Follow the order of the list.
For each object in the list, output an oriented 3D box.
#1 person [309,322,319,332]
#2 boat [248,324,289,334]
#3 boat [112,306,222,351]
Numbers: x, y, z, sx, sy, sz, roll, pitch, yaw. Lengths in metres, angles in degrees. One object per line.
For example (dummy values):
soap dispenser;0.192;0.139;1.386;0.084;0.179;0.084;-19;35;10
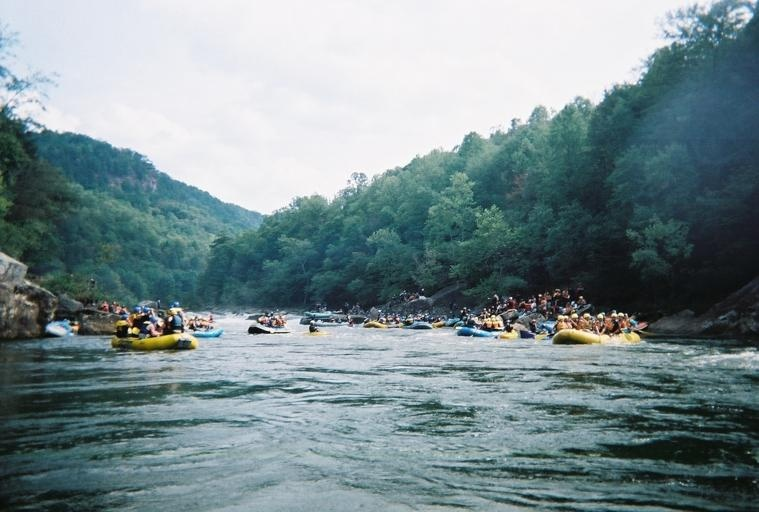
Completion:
person;-4.471;4.935;35.678;0.463;0.480;0.853;-4;-19;-17
boat;-7.944;5.339;37.320;1.761;0.784;2.776;-3;-13;30
boat;-10.790;3.601;24.524;4.185;1.559;2.422;-10;-13;43
